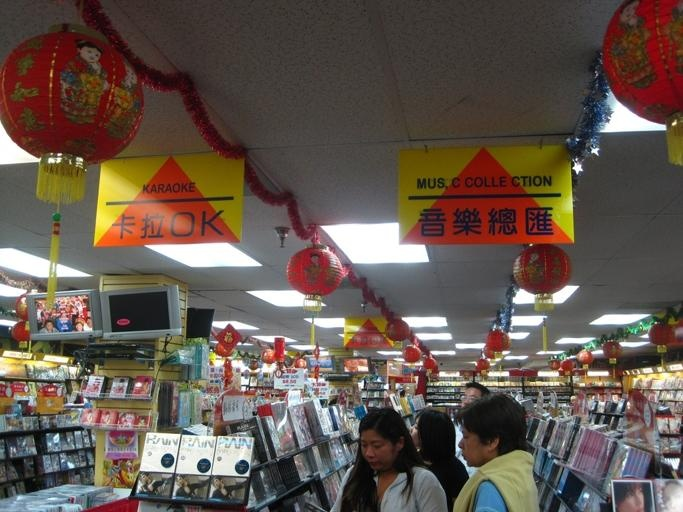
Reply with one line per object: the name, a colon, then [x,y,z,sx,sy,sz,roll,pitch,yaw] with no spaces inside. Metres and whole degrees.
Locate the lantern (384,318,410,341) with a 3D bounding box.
lantern: [1.130,1.461,9.988,0.414,0.380,0.418,0,3,0]

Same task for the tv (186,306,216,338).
tv: [-2.390,1.140,8.833,0.471,0.415,0.523,-1,-7,19]

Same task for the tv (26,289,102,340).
tv: [-4.226,0.954,7.624,1.002,0.729,0.532,0,-13,-45]

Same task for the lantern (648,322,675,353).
lantern: [6.125,1.490,9.675,0.398,0.540,0.844,-8,-17,31]

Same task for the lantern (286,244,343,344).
lantern: [-0.250,0.176,4.967,0.548,0.723,0.398,1,-14,-1]
